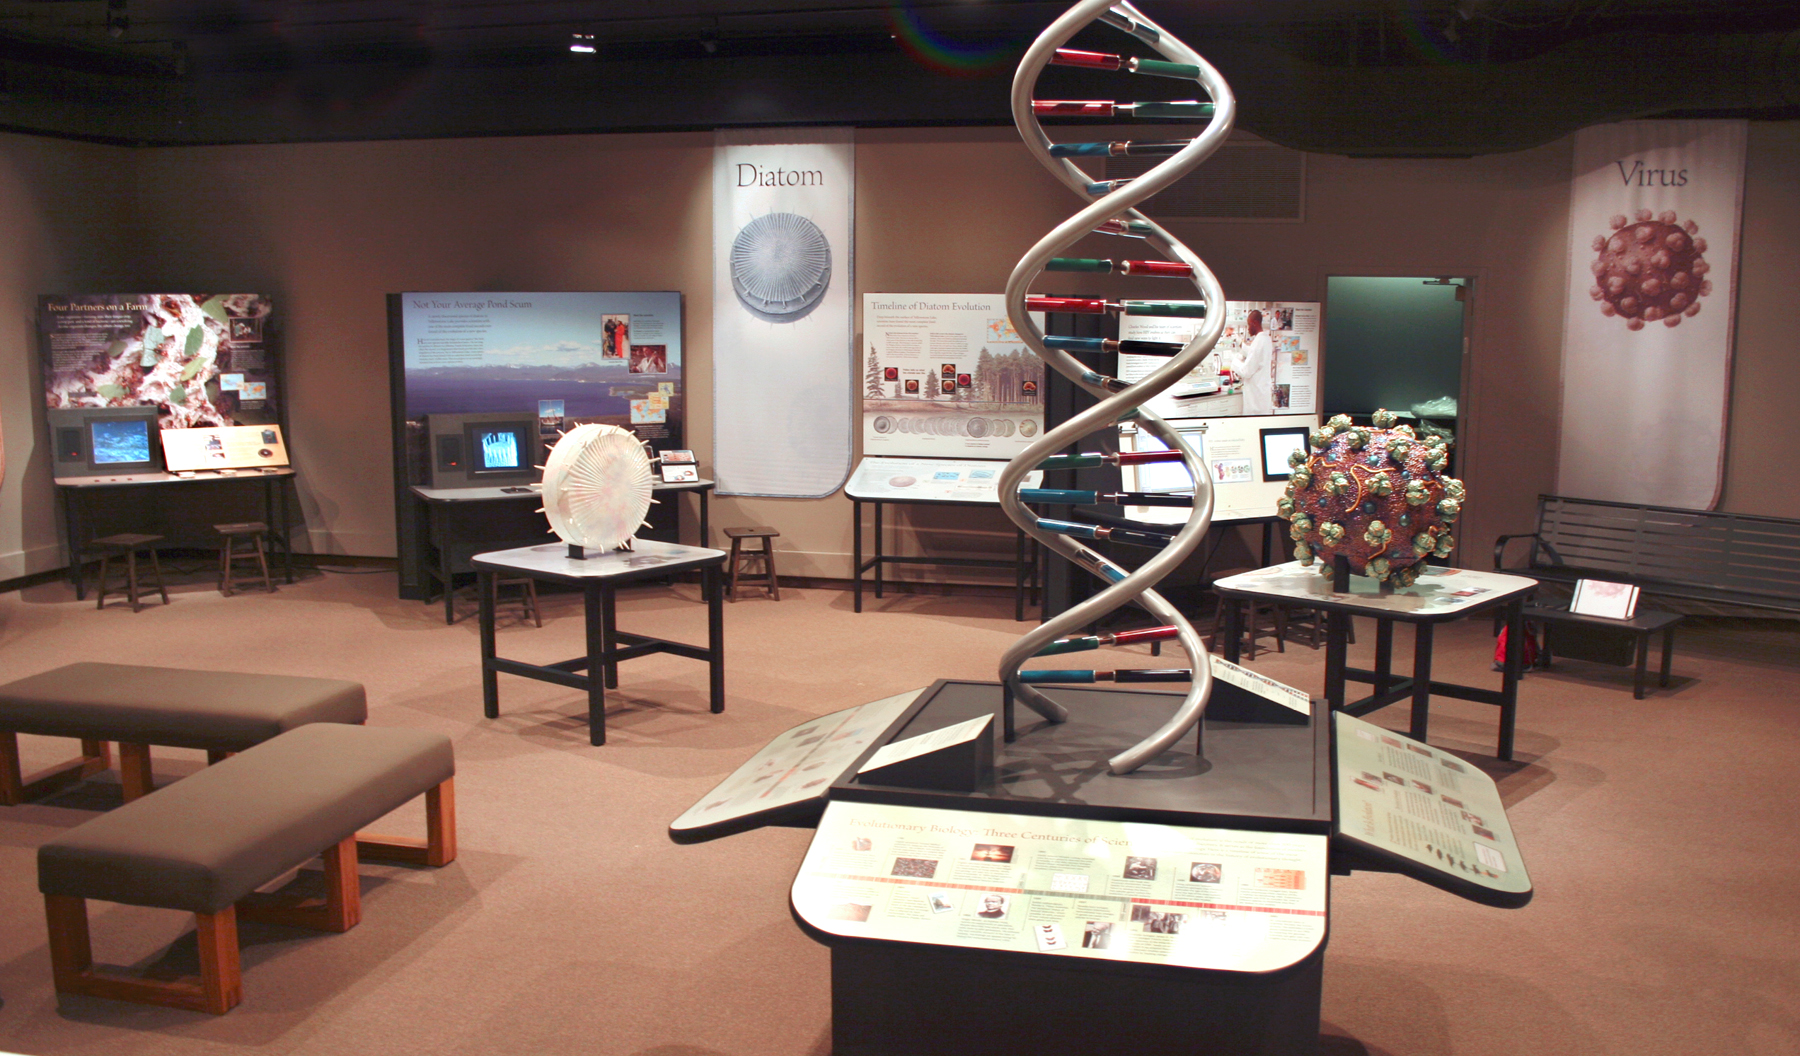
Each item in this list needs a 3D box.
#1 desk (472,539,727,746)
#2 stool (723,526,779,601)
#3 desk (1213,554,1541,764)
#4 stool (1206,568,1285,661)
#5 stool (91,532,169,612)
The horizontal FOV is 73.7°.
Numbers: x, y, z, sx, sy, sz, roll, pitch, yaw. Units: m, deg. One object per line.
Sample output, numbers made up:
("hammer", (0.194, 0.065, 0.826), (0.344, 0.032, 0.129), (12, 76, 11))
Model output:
("desk", (-2.040, 0.759, 8.162), (1.308, 0.980, 1.331), (4, 7, 42))
("stool", (-1.295, 0.297, 10.921), (0.677, 0.812, 0.636), (0, 6, -11))
("desk", (3.239, 0.864, 7.628), (1.471, 1.059, 1.573), (-3, -11, 28))
("stool", (2.723, 0.688, 9.264), (0.516, 0.524, 0.516), (-11, -1, -41))
("stool", (-7.094, 0.392, 10.860), (0.490, 0.479, 0.468), (0, 4, -6))
